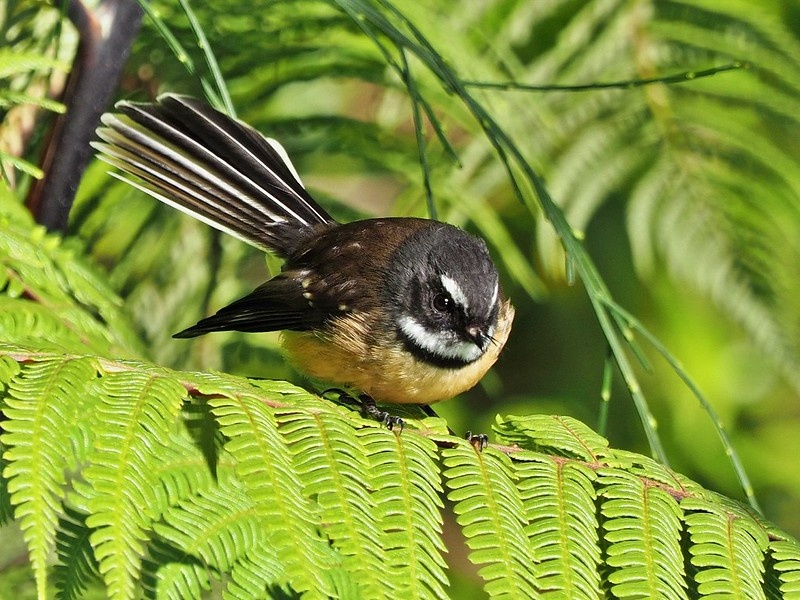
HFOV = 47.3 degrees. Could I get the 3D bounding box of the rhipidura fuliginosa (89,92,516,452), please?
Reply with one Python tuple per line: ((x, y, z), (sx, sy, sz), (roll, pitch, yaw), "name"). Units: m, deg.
((-0.428, -0.169, 4.321), (2.110, 1.063, 1.156), (22, 18, 20), "rhipidura fuliginosa")
